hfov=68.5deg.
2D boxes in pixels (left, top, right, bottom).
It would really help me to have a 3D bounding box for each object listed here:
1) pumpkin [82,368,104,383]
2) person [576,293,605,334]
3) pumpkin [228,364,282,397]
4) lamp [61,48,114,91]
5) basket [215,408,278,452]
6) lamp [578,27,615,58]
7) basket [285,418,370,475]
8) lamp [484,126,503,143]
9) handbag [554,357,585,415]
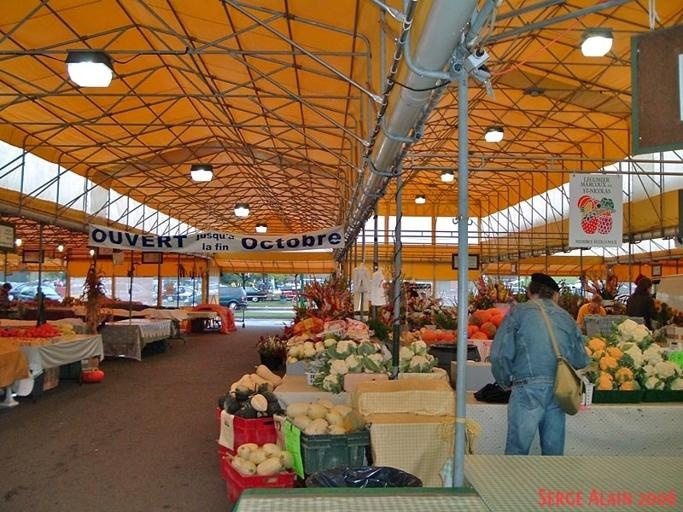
[{"bbox_3d":[-4.914,2.355,10.008,0.336,0.214,0.329,2,1,36],"label":"pumpkin"},{"bbox_3d":[5.689,1.489,11.487,0.636,1.241,0.420,1,25,16],"label":"person"},{"bbox_3d":[-0.916,1.383,5.592,0.595,0.151,0.547,-6,2,0],"label":"pumpkin"},{"bbox_3d":[-2.788,-2.087,5.580,0.474,0.371,0.339,2,-4,-8],"label":"lamp"},{"bbox_3d":[-0.892,1.612,4.718,0.537,0.281,0.514,-5,-11,28],"label":"basket"},{"bbox_3d":[3.827,-3.232,7.539,0.391,0.325,0.471,0,-4,22],"label":"lamp"},{"bbox_3d":[-0.151,1.471,3.911,0.382,0.212,0.549,2,-10,-14],"label":"basket"},{"bbox_3d":[3.645,-2.897,11.911,0.323,0.347,0.676,0,-4,24],"label":"lamp"},{"bbox_3d":[1.648,0.934,3.645,0.178,0.394,0.436,-12,-20,31],"label":"handbag"}]
